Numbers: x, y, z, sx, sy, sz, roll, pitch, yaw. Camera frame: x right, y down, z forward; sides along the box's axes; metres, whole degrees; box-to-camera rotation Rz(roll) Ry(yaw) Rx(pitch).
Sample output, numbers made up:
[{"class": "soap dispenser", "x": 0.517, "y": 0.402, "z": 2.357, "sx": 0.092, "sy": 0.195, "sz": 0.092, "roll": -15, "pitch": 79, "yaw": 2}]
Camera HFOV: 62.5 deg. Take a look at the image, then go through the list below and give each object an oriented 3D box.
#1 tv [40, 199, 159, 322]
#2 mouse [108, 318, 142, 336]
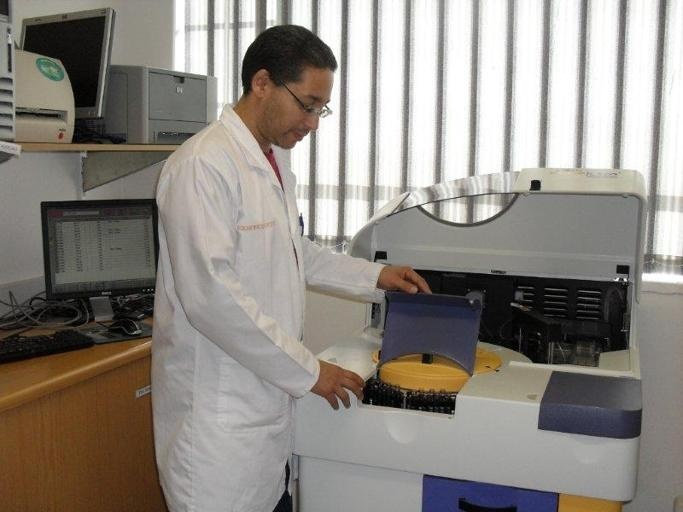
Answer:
[{"class": "tv", "x": -0.950, "y": 0.011, "z": 2.203, "sx": 0.402, "sy": 0.473, "sz": 0.139, "roll": -2, "pitch": 2, "yaw": -20}, {"class": "mouse", "x": -0.783, "y": 0.251, "z": 2.047, "sx": 0.091, "sy": 0.038, "sz": 0.066, "roll": 7, "pitch": 4, "yaw": 25}]
